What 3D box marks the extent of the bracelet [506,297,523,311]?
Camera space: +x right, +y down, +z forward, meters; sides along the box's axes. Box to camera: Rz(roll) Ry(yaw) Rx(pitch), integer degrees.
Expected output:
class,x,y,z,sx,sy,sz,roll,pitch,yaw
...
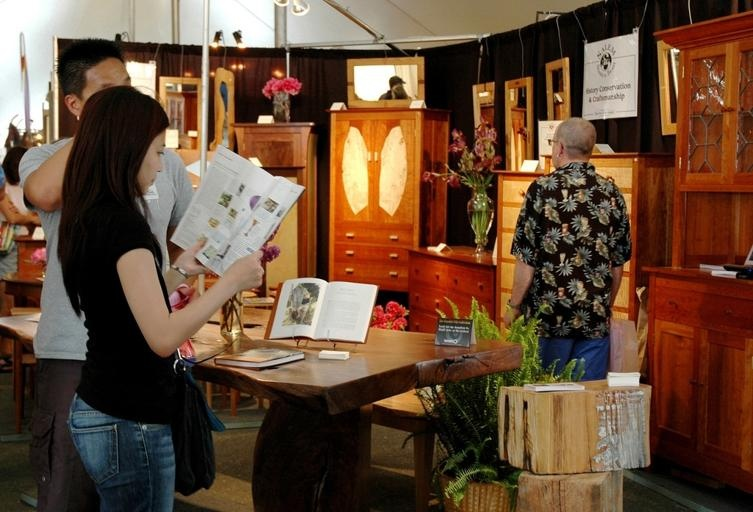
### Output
class,x,y,z,sx,sy,sz,roll,pitch,yaw
bracelet,0.906,0.310,4.184,0.088,0.046,0.066,3,2,-36

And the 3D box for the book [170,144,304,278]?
class,x,y,z,sx,sy,sz,roll,pitch,yaw
book,-0.530,-0.164,2.609,0.468,0.487,0.188,36,8,10

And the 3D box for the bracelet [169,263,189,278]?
class,x,y,z,sx,sy,sz,roll,pitch,yaw
bracelet,-0.776,0.060,2.499,0.062,0.044,0.066,8,-18,39

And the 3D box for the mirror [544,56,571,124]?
class,x,y,z,sx,sy,sz,roll,pitch,yaw
mirror,1.735,-1.571,6.055,0.173,0.580,0.461,-2,7,-19

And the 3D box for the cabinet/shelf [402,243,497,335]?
class,x,y,z,sx,sy,sz,roll,pitch,yaw
cabinet/shelf,0.711,0.298,6.070,0.369,0.833,0.934,-2,6,-31

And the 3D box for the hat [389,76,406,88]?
class,x,y,z,sx,sy,sz,roll,pitch,yaw
hat,0.257,-2.129,7.807,0.168,0.096,0.115,-23,22,-33

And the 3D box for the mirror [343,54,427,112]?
class,x,y,z,sx,sy,sz,roll,pitch,yaw
mirror,0.126,-2.110,7.849,0.868,0.579,0.034,0,4,8

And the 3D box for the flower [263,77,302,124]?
class,x,y,z,sx,sy,sz,roll,pitch,yaw
flower,-1.219,-2.041,8.399,0.475,0.578,0.299,3,7,14
